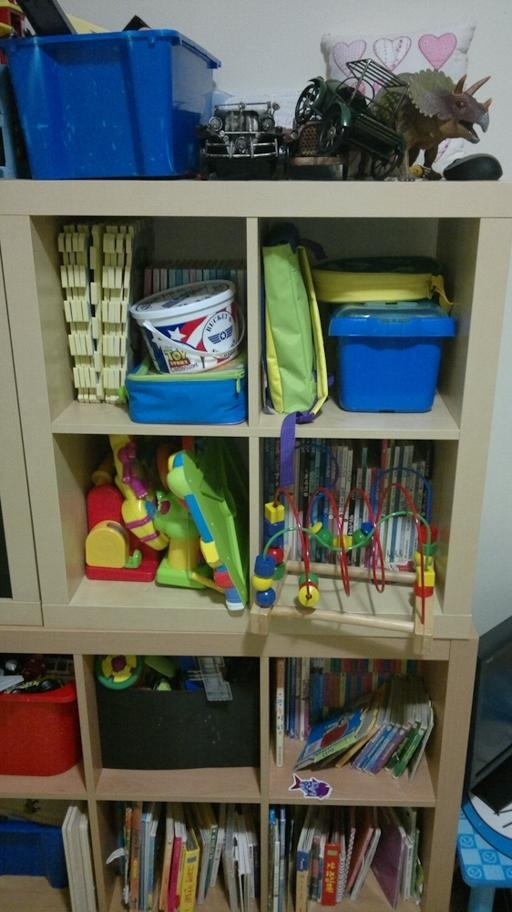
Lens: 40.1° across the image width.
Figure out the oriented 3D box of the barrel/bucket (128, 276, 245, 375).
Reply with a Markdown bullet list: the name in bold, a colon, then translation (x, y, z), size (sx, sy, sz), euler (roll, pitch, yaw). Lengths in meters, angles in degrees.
- **barrel/bucket**: translation (-0.100, -0.196, 1.099), size (0.172, 0.117, 0.155), euler (-28, 29, -35)

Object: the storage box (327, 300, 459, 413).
- **storage box**: translation (0.219, -0.107, 1.127), size (0.208, 0.168, 0.178), euler (2, 59, 19)

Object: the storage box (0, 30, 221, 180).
- **storage box**: translation (-0.208, -0.448, 0.941), size (0.171, 0.139, 0.277), euler (3, 28, 6)

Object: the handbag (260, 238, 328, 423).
- **handbag**: translation (0.053, -0.183, 1.064), size (0.084, 0.239, 0.212), euler (-2, 22, 9)
